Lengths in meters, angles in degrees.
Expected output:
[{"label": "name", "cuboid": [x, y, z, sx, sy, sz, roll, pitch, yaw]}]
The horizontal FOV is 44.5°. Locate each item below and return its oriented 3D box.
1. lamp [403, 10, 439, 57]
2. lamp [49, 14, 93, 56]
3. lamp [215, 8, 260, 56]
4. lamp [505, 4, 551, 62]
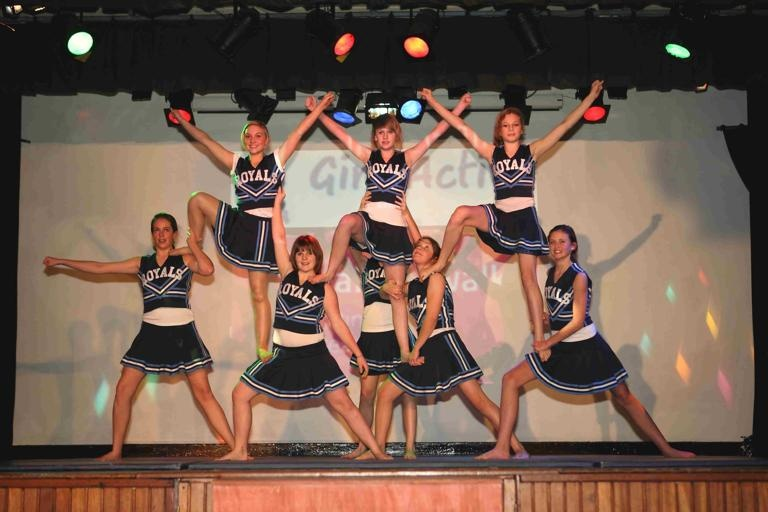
[{"label": "lamp", "cuboid": [0.408, -2.380, 9.980, 0.372, 0.485, 0.256, 1, -2, 1]}, {"label": "lamp", "cuboid": [-3.345, -2.437, 10.119, 0.301, 0.519, 0.200, -36, 17, -13]}, {"label": "lamp", "cuboid": [-1.531, -2.409, 9.968, 0.543, 0.342, 0.166, -44, 10, 0]}, {"label": "lamp", "cuboid": [1.526, -2.373, 9.982, 0.333, 0.542, 0.269, -34, 8, 11]}]
